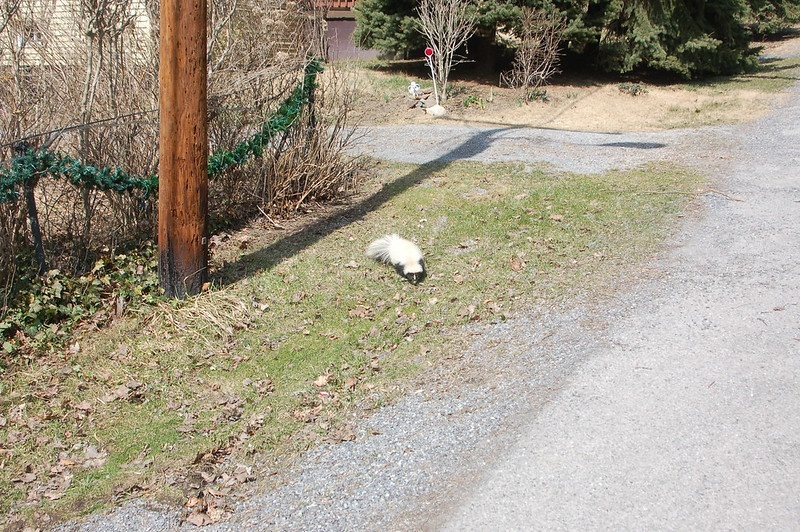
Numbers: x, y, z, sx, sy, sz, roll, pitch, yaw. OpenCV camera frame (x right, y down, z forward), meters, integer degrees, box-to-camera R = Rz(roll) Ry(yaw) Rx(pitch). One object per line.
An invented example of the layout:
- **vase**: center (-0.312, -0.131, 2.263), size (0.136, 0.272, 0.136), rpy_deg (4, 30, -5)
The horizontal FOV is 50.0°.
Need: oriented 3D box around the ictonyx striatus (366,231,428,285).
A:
- **ictonyx striatus**: center (-0.151, -0.104, 12.804), size (0.945, 0.357, 0.629), rpy_deg (46, 8, -9)
